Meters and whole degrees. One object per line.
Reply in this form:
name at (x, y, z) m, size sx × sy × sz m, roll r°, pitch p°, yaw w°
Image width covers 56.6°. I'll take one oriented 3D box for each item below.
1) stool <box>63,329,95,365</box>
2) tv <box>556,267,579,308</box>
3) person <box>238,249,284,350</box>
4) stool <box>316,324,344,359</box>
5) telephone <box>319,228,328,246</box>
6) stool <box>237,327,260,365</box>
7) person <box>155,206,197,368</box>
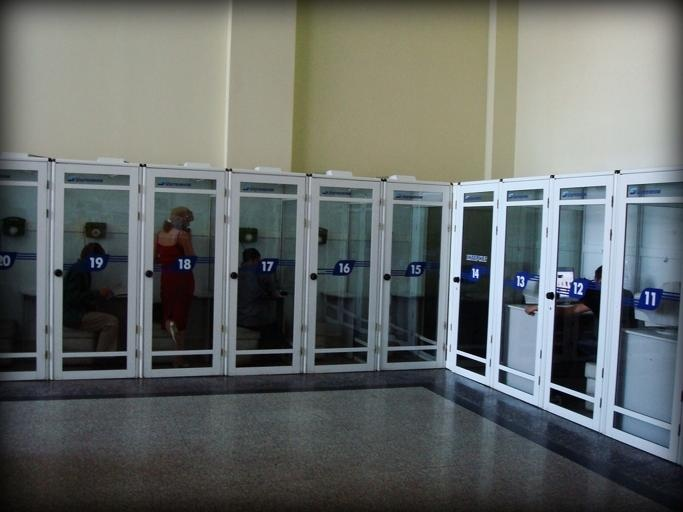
stool at (-3.732, 1.268, 9.119) m, size 0.499 × 0.474 × 0.480 m, roll 0°, pitch 1°, yaw -14°
tv at (2.927, 0.384, 8.328) m, size 0.474 × 0.364 × 0.448 m, roll 4°, pitch 14°, yaw 22°
person at (-1.212, 0.623, 9.465) m, size 0.656 × 1.477 × 0.190 m, roll 2°, pitch 9°, yaw -5°
stool at (-0.174, 1.290, 10.113) m, size 0.516 × 0.678 × 0.742 m, roll 1°, pitch -1°, yaw -7°
telephone at (-0.292, -0.308, 9.678) m, size 0.152 × 0.273 × 0.035 m, roll -2°, pitch 10°, yaw -28°
stool at (-1.426, 1.321, 9.655) m, size 0.509 × 0.414 × 0.491 m, roll -1°, pitch 5°, yaw -10°
person at (-2.422, 0.313, 9.180) m, size 0.525 × 2.039 × 0.199 m, roll 0°, pitch 9°, yaw -16°
